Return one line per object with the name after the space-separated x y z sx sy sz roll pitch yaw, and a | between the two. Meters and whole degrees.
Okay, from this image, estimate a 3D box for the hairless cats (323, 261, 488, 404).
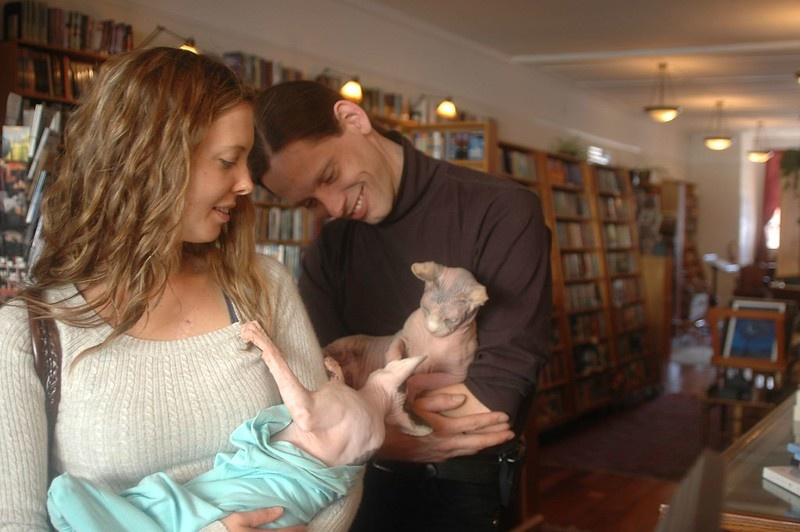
0.038 0.207 2.290 0.576 0.497 0.452 0 40 4 | hairless cats

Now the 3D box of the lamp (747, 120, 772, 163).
1.880 -0.645 3.244 0.028 0.219 0.103 0 3 -40 | lamp

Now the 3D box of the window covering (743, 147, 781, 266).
1.931 -0.302 3.268 0.111 0.581 0.104 4 3 29 | window covering

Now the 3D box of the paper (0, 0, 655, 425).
0.120 -0.190 2.767 1.192 1.551 1.495 2 23 34 | paper

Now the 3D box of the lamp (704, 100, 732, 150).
1.707 -0.750 3.314 0.043 0.271 0.128 1 3 -35 | lamp

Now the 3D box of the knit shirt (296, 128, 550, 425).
0.230 -0.079 2.783 1.233 1.141 0.936 11 15 27 | knit shirt
